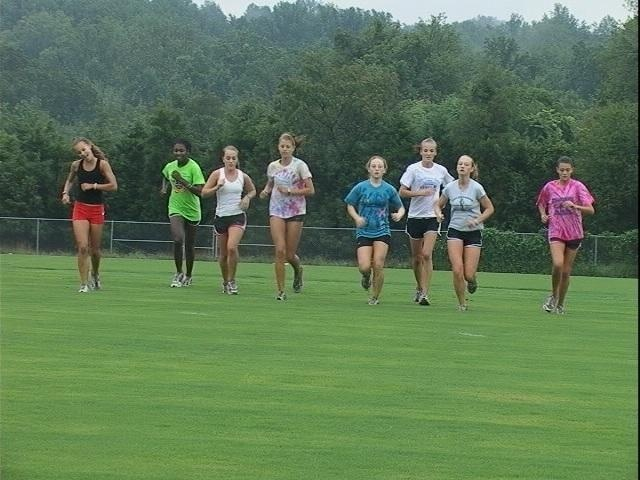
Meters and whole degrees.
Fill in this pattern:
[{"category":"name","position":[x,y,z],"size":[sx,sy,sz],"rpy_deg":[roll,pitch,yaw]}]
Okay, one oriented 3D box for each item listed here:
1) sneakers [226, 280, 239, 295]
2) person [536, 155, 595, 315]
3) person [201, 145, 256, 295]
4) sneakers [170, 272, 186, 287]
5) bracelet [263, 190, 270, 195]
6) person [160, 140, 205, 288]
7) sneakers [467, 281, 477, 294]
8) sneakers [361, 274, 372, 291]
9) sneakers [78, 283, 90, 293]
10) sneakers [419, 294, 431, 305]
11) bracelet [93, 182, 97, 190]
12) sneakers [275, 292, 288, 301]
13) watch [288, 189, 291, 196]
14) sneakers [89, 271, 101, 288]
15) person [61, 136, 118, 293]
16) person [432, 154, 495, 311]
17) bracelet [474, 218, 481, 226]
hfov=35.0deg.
[{"category":"sneakers","position":[-1.273,0.702,14.717],"size":[0.203,0.220,0.498],"rpy_deg":[0,-3,-16]},{"category":"person","position":[3.250,-0.051,13.501],"size":[0.619,2.058,0.812],"rpy_deg":[4,4,-1]},{"category":"person","position":[-1.343,-0.269,14.719],"size":[0.738,2.143,1.310],"rpy_deg":[3,5,-5]},{"category":"sneakers","position":[-2.231,0.644,15.865],"size":[0.128,0.151,0.365],"rpy_deg":[-1,-5,0]},{"category":"bracelet","position":[-0.724,-0.633,13.744],"size":[0.073,0.051,0.061],"rpy_deg":[-11,-2,-12]},{"category":"person","position":[-2.094,-0.366,15.532],"size":[0.542,2.257,0.780],"rpy_deg":[3,5,-9]},{"category":"sneakers","position":[2.119,0.645,14.024],"size":[0.139,0.175,0.399],"rpy_deg":[-1,-14,4]},{"category":"sneakers","position":[0.665,0.583,14.387],"size":[0.162,0.180,0.440],"rpy_deg":[2,9,3]},{"category":"sneakers","position":[-3.267,0.675,13.985],"size":[0.092,0.092,0.220],"rpy_deg":[-1,-5,-5]},{"category":"sneakers","position":[1.457,0.833,13.923],"size":[0.094,0.111,0.247],"rpy_deg":[-1,-10,4]},{"category":"bracelet","position":[-3.069,-0.718,13.842],"size":[0.053,0.067,0.021],"rpy_deg":[4,-1,13]},{"category":"sneakers","position":[-0.528,0.790,13.944],"size":[0.070,0.086,0.192],"rpy_deg":[-2,-8,18]},{"category":"watch","position":[-0.400,-0.625,13.685],"size":[0.053,0.081,0.114],"rpy_deg":[4,5,0]},{"category":"sneakers","position":[-3.263,0.610,14.689],"size":[0.134,0.172,0.356],"rpy_deg":[1,-8,-11]},{"category":"person","position":[-3.214,-0.310,14.048],"size":[0.705,2.121,0.906],"rpy_deg":[3,5,-14]},{"category":"person","position":[1.931,-0.087,13.677],"size":[0.741,2.067,1.369],"rpy_deg":[4,5,9]},{"category":"bracelet","position":[2.044,-0.217,13.121],"size":[0.075,0.066,0.073],"rpy_deg":[-5,6,-14]}]
